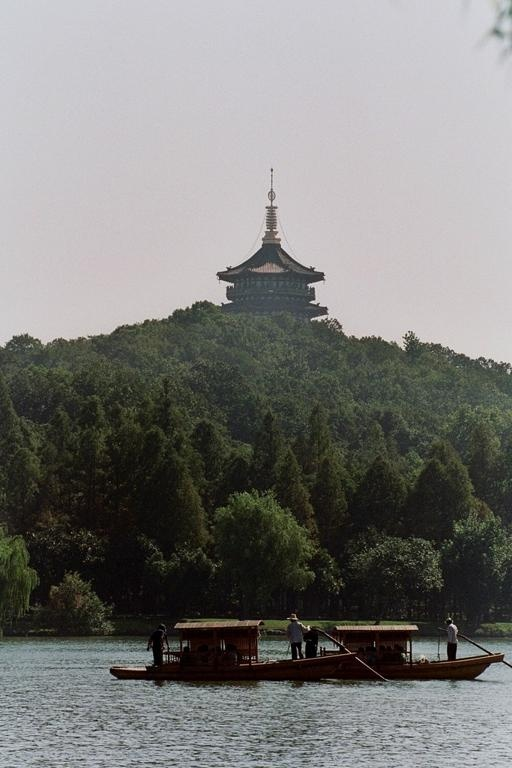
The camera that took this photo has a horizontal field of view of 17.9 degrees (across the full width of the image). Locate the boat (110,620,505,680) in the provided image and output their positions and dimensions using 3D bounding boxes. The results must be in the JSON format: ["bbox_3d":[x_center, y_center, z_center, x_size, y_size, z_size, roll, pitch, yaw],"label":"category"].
[{"bbox_3d":[1.401,8.730,52.973,10.880,2.161,2.683,3,-12,-8],"label":"boat"}]

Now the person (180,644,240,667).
[{"bbox_3d":[-1.508,8.691,52.324,1.876,0.724,1.173,2,-12,-2],"label":"person"}]

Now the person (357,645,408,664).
[{"bbox_3d":[4.132,8.876,53.430,0.924,0.385,0.751,-2,1,3],"label":"person"}]
